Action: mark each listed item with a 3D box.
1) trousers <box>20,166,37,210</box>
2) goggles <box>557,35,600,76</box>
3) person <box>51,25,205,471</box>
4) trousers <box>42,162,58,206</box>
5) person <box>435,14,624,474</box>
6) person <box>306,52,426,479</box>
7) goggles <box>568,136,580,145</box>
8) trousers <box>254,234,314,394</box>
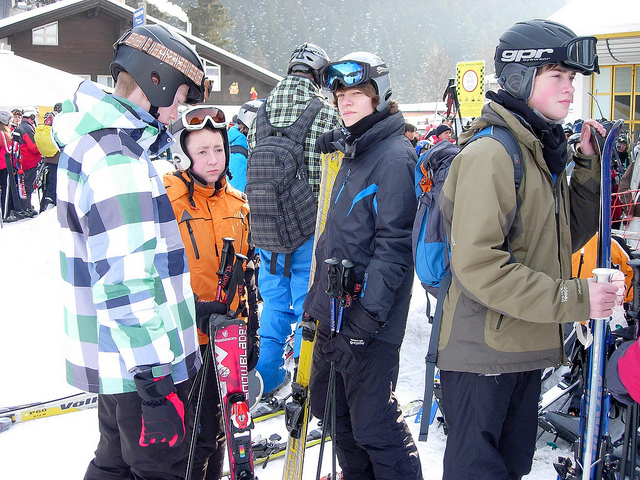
[{"bbox_3d":[-6.710,-1.188,12.872,0.199,1.043,1.615,-1,2,-24],"label":"trousers"},{"bbox_3d":[1.262,-0.876,2.760,0.182,0.156,0.211,-7,9,-38],"label":"goggles"},{"bbox_3d":[-0.941,0.096,2.826,0.731,2.398,0.610,-1,2,-28],"label":"person"},{"bbox_3d":[-5.892,-1.223,12.162,0.242,0.920,1.336,-1,2,-27],"label":"trousers"},{"bbox_3d":[1.023,0.037,2.820,0.874,2.303,0.622,0,1,2],"label":"person"},{"bbox_3d":[0.264,0.169,3.481,0.722,2.739,0.751,0,1,11],"label":"person"},{"bbox_3d":[1.498,-0.580,3.295,0.071,0.029,0.069,-24,-3,13],"label":"goggles"},{"bbox_3d":[-0.291,0.571,4.976,0.464,1.759,0.443,3,32,-4],"label":"trousers"}]
